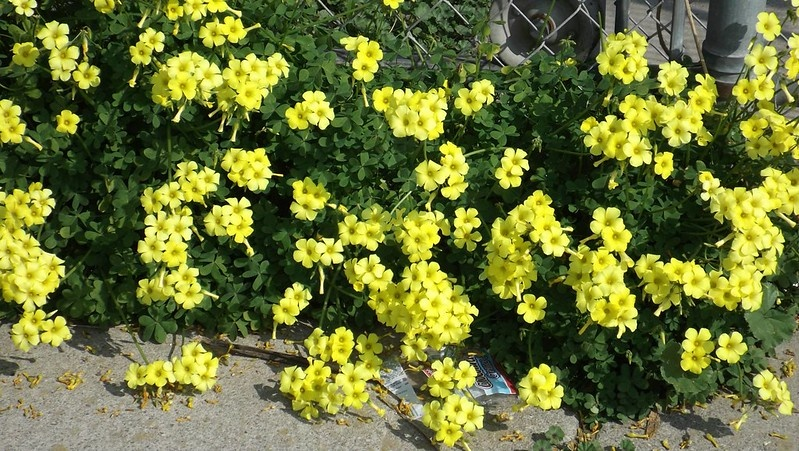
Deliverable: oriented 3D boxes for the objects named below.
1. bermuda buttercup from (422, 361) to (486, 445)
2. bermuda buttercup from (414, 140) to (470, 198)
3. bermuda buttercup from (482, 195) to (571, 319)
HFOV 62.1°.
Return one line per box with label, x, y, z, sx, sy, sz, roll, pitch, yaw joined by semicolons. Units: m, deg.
bermuda buttercup;0.286;0.978;3.629;0.328;0.143;0.492;15;51;-9
bermuda buttercup;0.247;-0.294;3.689;0.298;0.314;0.113;4;-18;-8
bermuda buttercup;0.695;0.127;3.795;0.512;0.658;0.250;13;14;6
